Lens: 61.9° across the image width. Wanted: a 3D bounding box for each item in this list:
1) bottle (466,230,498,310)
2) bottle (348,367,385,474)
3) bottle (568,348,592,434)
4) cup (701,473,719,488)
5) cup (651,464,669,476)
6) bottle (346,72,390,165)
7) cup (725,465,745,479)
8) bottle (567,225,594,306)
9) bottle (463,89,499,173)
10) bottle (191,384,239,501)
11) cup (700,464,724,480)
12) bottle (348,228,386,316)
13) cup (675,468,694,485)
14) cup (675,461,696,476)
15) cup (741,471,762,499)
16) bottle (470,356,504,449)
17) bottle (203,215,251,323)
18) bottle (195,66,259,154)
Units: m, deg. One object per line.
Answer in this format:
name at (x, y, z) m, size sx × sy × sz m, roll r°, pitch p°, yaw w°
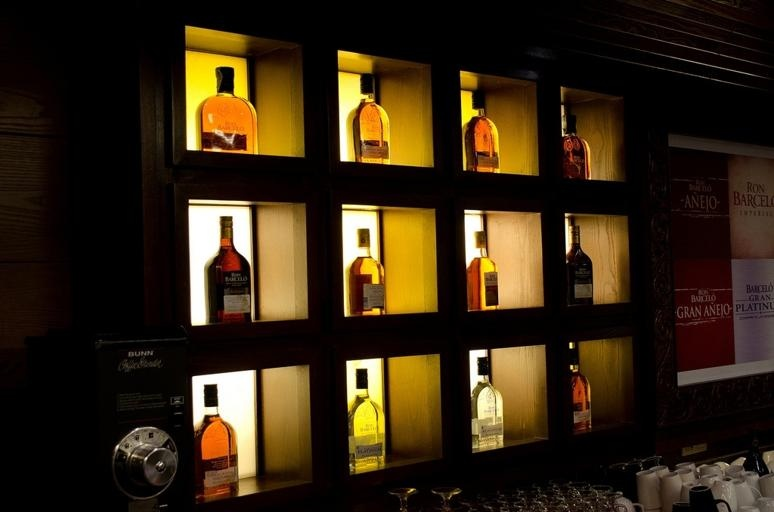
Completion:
bottle at (0.414, 0.066, 2.772) m, size 0.132 × 0.342 × 0.254 m, roll -4°, pitch -7°, yaw 10°
bottle at (-0.079, 0.644, 2.522) m, size 0.136 × 0.357 × 0.196 m, roll -3°, pitch -7°, yaw -2°
bottle at (0.903, 0.606, 2.989) m, size 0.085 × 0.394 × 0.378 m, roll -5°, pitch -7°, yaw 17°
cup at (1.427, 0.990, 2.843) m, size 0.074 × 0.071 × 0.055 m, roll -11°, pitch 12°, yaw 24°
cup at (1.227, 0.958, 2.880) m, size 0.043 × 0.040 × 0.057 m, roll -4°, pitch -9°, yaw 10°
bottle at (-0.076, -0.552, 2.593) m, size 0.151 × 0.418 × 0.231 m, roll -5°, pitch -7°, yaw 15°
cup at (1.619, 1.001, 2.988) m, size 0.055 × 0.037 × 0.054 m, roll -14°, pitch 0°, yaw 0°
bottle at (0.891, 0.041, 2.983) m, size 0.114 × 0.375 × 0.160 m, roll -5°, pitch -7°, yaw 15°
bottle at (0.406, -0.543, 2.805) m, size 0.138 × 0.420 × 0.290 m, roll -5°, pitch -7°, yaw 18°
bottle at (-0.604, 0.696, 2.285) m, size 0.144 × 0.302 × 0.122 m, roll -1°, pitch -7°, yaw -17°
cup at (1.487, 0.982, 2.951) m, size 0.101 × 0.094 × 0.074 m, roll -7°, pitch -16°, yaw 34°
bottle at (-0.079, 0.072, 2.562) m, size 0.147 × 0.333 × 0.231 m, roll -3°, pitch -7°, yaw -1°
cup at (1.331, 0.978, 2.861) m, size 0.055 × 0.053 × 0.054 m, roll 0°, pitch -1°, yaw 0°
cup at (1.386, 0.971, 2.972) m, size 0.069 × 0.069 × 0.070 m, roll -1°, pitch -4°, yaw 0°
cup at (1.650, 1.034, 2.899) m, size 0.080 × 0.117 × 0.118 m, roll -6°, pitch -5°, yaw 9°
bottle at (0.436, 0.623, 2.778) m, size 0.135 × 0.374 × 0.300 m, roll -4°, pitch -7°, yaw 10°
bottle at (-0.567, 0.049, 2.300) m, size 0.156 × 0.373 × 0.089 m, roll -2°, pitch -7°, yaw -7°
bottle at (-0.554, -0.529, 2.369) m, size 0.245 × 0.353 × 0.137 m, roll 3°, pitch -9°, yaw -39°
